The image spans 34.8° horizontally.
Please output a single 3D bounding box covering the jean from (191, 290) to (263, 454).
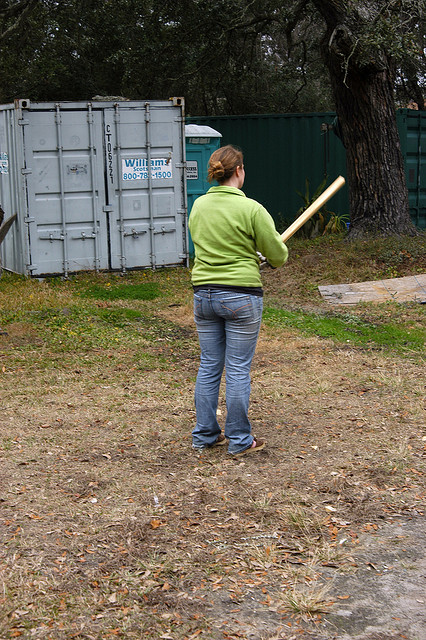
[{"bbox_3d":[0.058,0.322,4.269,0.473,1.075,0.314,5,13,21],"label":"jean"}]

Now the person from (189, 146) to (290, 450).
[{"bbox_3d":[0.119,-0.084,4.177,0.628,1.909,0.352,4,13,15],"label":"person"}]
